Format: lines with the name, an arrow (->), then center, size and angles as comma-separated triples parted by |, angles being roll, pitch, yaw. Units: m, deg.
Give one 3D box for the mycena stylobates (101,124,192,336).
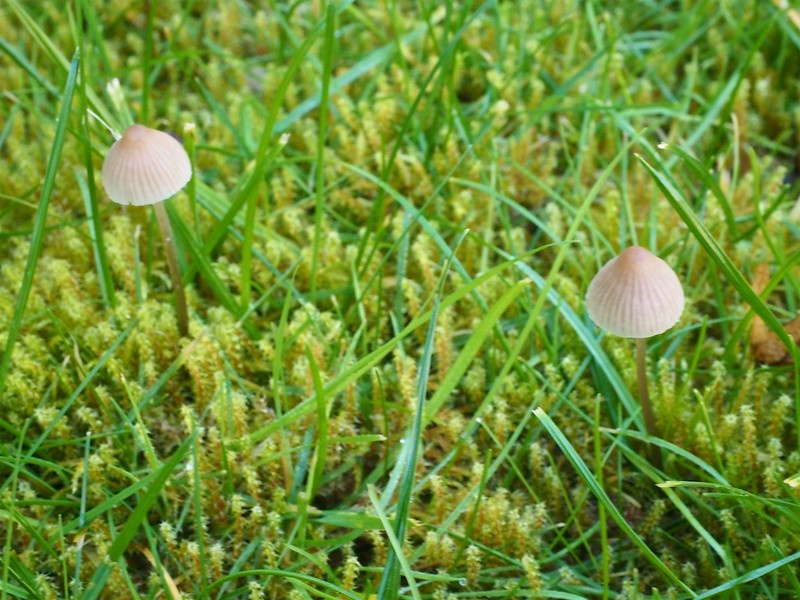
mycena stylobates -> -0.573, -0.149, 1.975 | 0.196, 0.515, 0.148 | -10, 35, -15
